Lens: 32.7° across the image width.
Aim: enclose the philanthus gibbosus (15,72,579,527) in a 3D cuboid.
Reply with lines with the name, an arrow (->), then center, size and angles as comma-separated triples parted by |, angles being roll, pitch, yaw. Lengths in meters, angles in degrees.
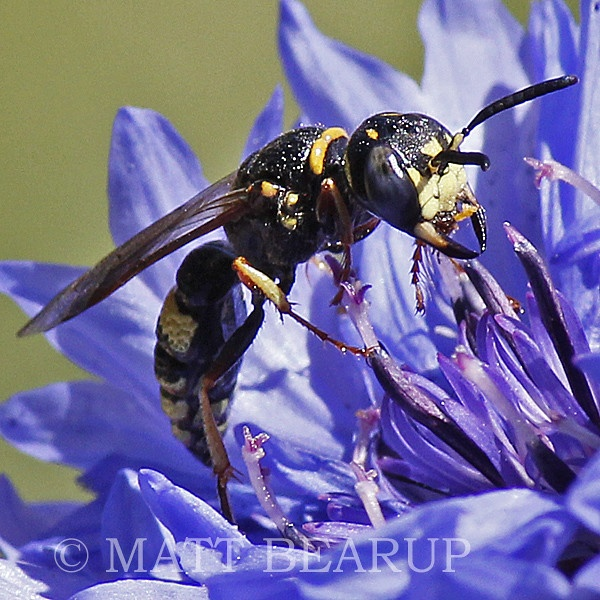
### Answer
philanthus gibbosus -> -0.017, -0.005, 1.118 | 0.609, 0.313, 0.442 | -18, 6, 34
